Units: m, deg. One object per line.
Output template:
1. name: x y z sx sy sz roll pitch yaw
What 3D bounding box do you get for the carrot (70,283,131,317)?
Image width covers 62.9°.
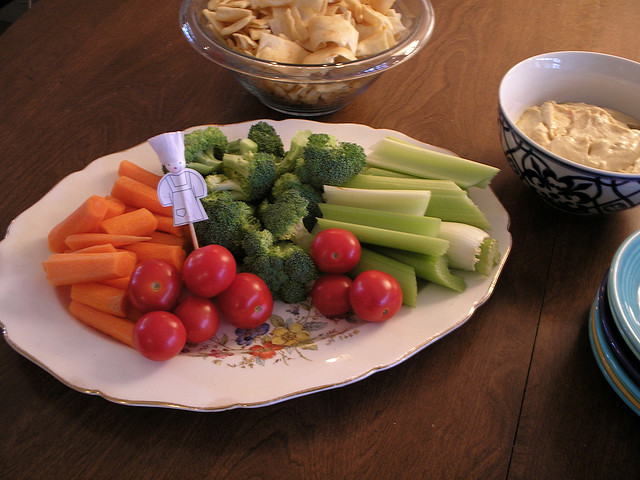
1. carrot: -0.580 0.154 1.415 0.177 0.050 0.073 13 38 3

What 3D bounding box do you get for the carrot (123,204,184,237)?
1. carrot: -0.476 -0.046 1.513 0.151 0.132 0.030 17 93 15

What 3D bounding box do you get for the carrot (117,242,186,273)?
1. carrot: -0.488 0.035 1.541 0.225 0.060 0.084 0 23 14

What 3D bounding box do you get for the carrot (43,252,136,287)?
1. carrot: -0.617 0.073 1.407 0.223 0.058 0.089 -4 21 -4

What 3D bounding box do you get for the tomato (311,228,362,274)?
1. tomato: 0.040 0.036 1.484 0.171 0.128 0.102 -2 106 -9

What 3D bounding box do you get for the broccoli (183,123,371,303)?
1. broccoli: -0.169 -0.114 1.543 0.648 0.259 0.575 4 37 -7

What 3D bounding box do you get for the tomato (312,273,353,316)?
1. tomato: 0.042 0.154 1.468 0.153 0.134 0.102 -5 99 -11

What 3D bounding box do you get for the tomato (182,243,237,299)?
1. tomato: -0.292 0.082 1.451 0.189 0.144 0.124 -12 102 -8

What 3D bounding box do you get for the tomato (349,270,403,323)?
1. tomato: 0.141 0.155 1.430 0.181 0.127 0.126 -9 49 -3

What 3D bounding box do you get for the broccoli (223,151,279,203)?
1. broccoli: -0.201 -0.194 1.573 0.208 0.119 0.100 20 25 15

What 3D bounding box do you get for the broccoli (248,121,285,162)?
1. broccoli: -0.173 -0.329 1.739 0.128 0.074 0.134 -15 60 -18

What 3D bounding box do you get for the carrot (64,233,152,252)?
1. carrot: -0.619 -0.001 1.470 0.257 0.057 0.049 -2 56 -27

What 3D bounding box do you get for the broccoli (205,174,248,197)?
1. broccoli: -0.291 -0.173 1.617 0.100 0.024 0.083 -12 45 -32

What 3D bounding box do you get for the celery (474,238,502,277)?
1. celery: 0.461 0.045 1.443 0.101 0.029 0.089 4 102 -25

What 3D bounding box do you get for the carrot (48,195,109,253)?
1. carrot: -0.684 -0.049 1.531 0.217 0.065 0.110 -39 69 -1

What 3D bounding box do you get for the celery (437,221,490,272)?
1. celery: 0.399 0.019 1.529 0.173 0.126 0.111 23 92 30

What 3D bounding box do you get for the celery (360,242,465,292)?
1. celery: 0.224 0.064 1.517 0.382 0.068 0.066 16 70 18

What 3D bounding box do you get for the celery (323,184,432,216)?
1. celery: 0.143 -0.124 1.573 0.419 0.080 0.076 -2 18 -31

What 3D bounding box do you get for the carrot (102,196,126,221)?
1. carrot: -0.609 -0.094 1.603 0.083 0.067 0.063 -13 57 -28

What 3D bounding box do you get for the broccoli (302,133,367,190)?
1. broccoli: 0.010 -0.244 1.639 0.199 0.088 0.193 -3 26 -31
